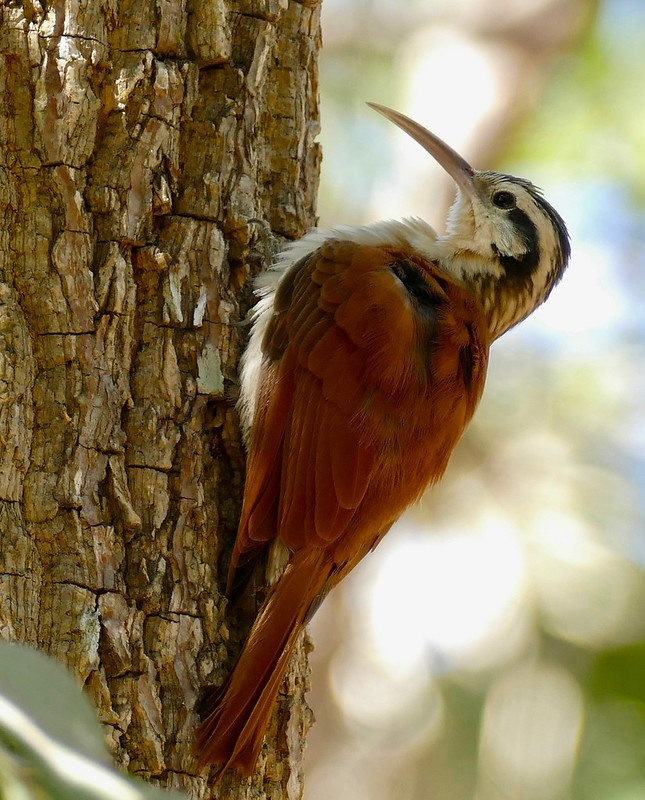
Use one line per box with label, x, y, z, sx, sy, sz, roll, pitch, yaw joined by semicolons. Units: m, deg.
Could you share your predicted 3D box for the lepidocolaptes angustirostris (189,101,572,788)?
lepidocolaptes angustirostris;0.108;0.078;4.631;0.459;2.217;0.894;4;-27;35
